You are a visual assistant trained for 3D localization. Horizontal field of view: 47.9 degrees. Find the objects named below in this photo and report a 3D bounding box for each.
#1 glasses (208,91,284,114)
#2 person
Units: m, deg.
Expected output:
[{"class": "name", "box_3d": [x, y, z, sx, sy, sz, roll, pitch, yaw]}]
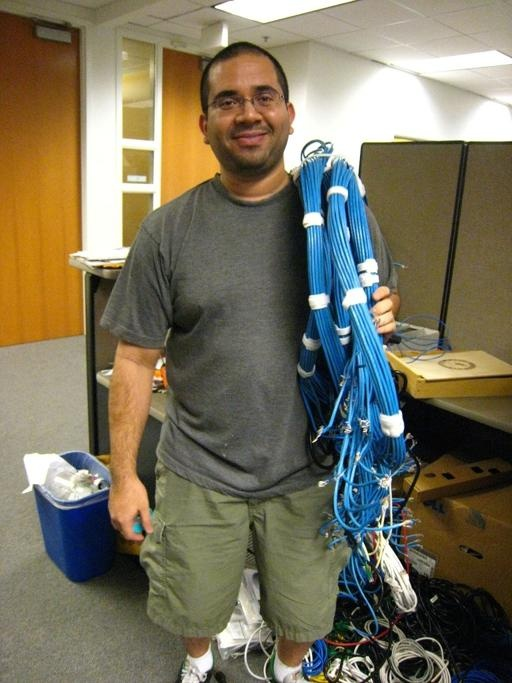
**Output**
[{"class": "glasses", "box_3d": [-0.022, -0.500, 1.213, 0.149, 0.048, 0.057, 0, 15, -5]}, {"class": "person", "box_3d": [-0.034, 0.175, 1.335, 0.645, 1.623, 0.359, 5, 16, 13]}]
